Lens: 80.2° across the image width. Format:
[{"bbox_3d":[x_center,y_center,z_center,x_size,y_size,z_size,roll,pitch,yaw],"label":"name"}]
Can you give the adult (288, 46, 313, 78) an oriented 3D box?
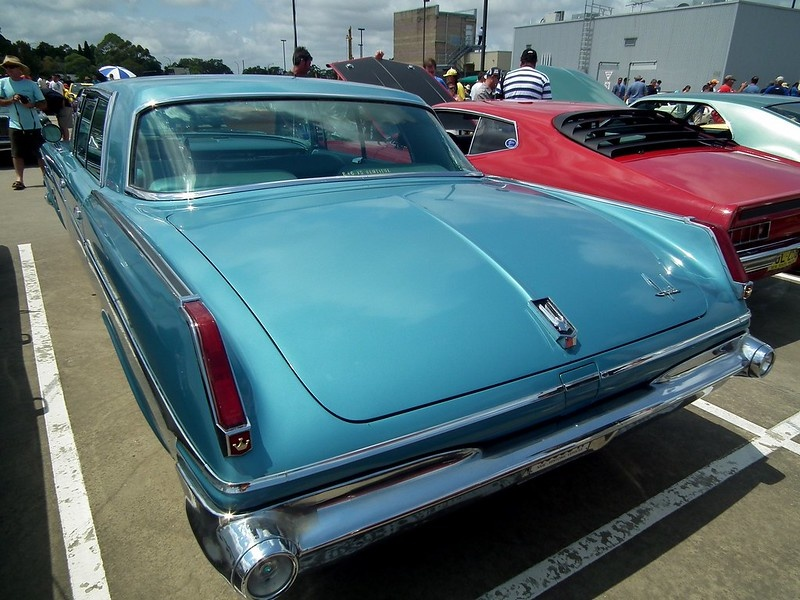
[{"bbox_3d":[-1.381,-3.451,6.819,0.224,0.362,0.758,-6,25,-12],"label":"adult"}]
